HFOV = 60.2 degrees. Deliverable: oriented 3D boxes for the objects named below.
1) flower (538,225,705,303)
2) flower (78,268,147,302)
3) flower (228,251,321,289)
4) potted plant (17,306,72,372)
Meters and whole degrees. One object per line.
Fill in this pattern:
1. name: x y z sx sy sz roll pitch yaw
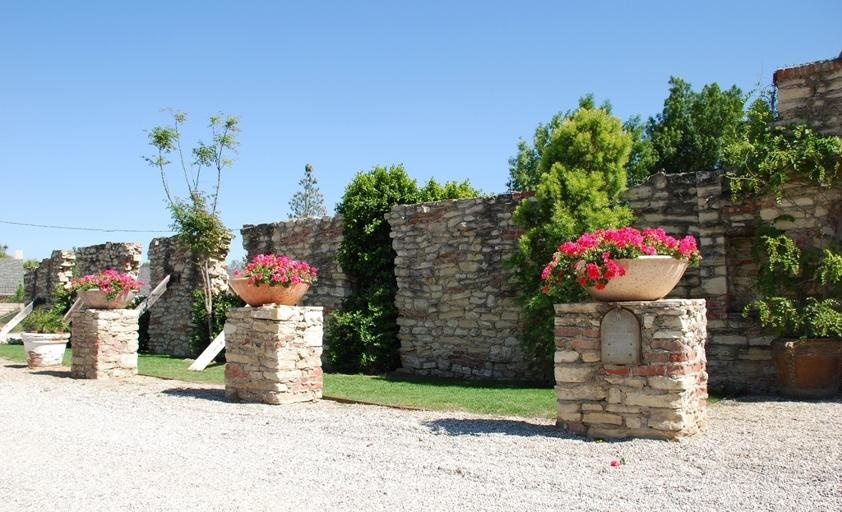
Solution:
1. flower: 3.087 0.115 11.345 1.681 0.782 1.582 -2 -8 3
2. flower: -6.552 0.595 15.627 0.973 0.471 0.909 1 -5 -5
3. flower: -2.578 0.299 13.047 1.174 0.437 0.941 4 18 -9
4. potted plant: -8.746 1.946 17.174 1.581 1.550 1.338 0 -11 -9
